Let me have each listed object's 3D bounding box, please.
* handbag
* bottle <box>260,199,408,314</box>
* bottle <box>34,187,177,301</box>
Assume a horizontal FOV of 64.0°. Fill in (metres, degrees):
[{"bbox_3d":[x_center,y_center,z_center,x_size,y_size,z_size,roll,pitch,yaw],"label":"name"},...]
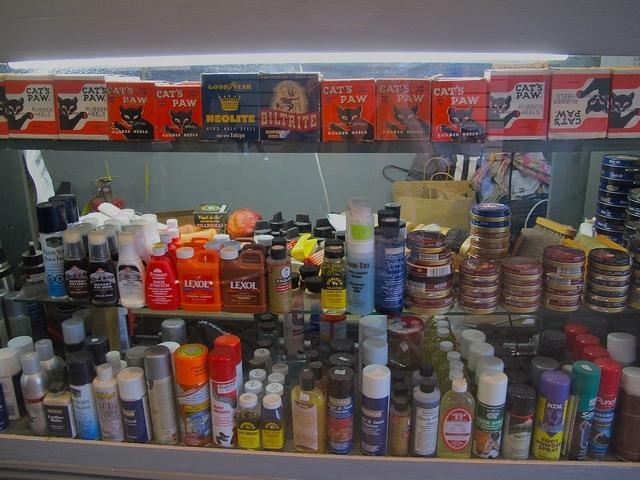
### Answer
[{"bbox_3d":[0.378,-0.145,1.724,0.247,0.215,0.141,14,51,33],"label":"handbag"},{"bbox_3d":[0.137,0.044,1.547,0.239,0.325,0.199,-2,14,7],"label":"bottle"},{"bbox_3d":[-0.692,0.000,1.732,0.359,0.241,0.325,2,17,3],"label":"bottle"}]
